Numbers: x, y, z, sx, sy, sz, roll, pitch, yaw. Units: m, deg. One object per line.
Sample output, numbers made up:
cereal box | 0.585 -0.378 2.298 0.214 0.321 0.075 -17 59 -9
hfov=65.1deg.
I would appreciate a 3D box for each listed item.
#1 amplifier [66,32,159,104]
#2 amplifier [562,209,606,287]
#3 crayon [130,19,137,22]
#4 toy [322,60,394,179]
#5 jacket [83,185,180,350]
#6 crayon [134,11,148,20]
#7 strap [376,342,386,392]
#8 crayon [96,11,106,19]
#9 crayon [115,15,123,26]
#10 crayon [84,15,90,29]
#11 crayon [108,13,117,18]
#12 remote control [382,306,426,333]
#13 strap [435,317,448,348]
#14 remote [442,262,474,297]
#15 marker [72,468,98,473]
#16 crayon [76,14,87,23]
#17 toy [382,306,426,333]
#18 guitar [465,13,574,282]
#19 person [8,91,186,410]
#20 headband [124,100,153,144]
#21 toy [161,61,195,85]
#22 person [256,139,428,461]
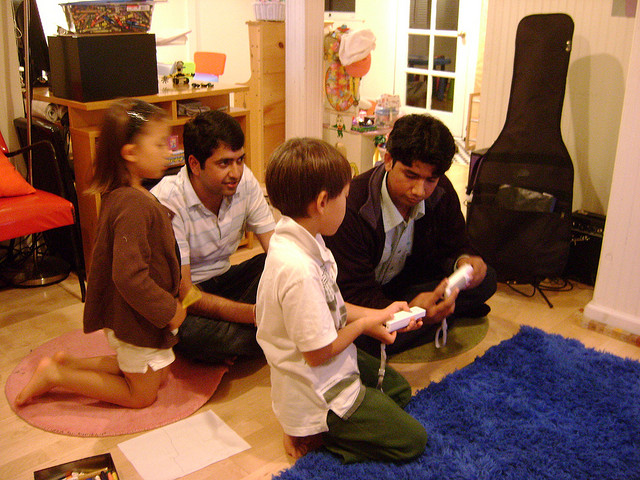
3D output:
amplifier | -1.114 -0.949 2.872 0.613 0.408 0.553 -16 25 -41
amplifier | 1.543 0.038 2.981 0.228 0.423 0.200 19 32 34
crayon | -1.041 -1.222 2.778 0.031 0.010 0.023 -4 5 -26
toy | 0.019 -1.112 4.418 0.301 0.927 0.489 -14 28 -26
jacket | -0.678 0.085 1.886 0.283 0.606 0.370 -10 28 -27
crayon | -1.004 -1.251 2.789 0.013 0.075 0.010 -55 29 -10
strap | 0.234 0.471 1.881 0.025 0.138 0.080 1 8 6
crayon | -1.167 -1.201 2.663 0.072 0.017 0.010 -42 29 -14
crayon | -1.098 -1.198 2.727 0.013 0.046 0.012 24 74 38
crayon | -1.232 -1.145 2.633 0.011 0.081 0.010 12 -1 -7
crayon | -1.124 -1.212 2.696 0.025 0.007 0.025 0 9 29
remote control | 0.314 0.269 1.838 0.064 0.049 0.222 23 29 36
strap | 0.564 0.430 2.321 0.033 0.151 0.106 2 8 8
remote | 0.594 0.168 2.205 0.072 0.071 0.224 46 55 7
marker | -0.792 0.768 1.670 0.067 0.019 0.010 -4 21 -10
crayon | -1.250 -1.157 2.608 0.055 0.008 0.007 -48 55 -6
toy | 0.311 0.271 1.833 0.064 0.040 0.220 24 32 37
guitar | 1.165 -0.508 2.820 0.549 1.417 0.466 7 22 19
person | -0.838 0.084 1.910 0.632 1.171 0.332 1 20 3
headband | -0.646 -0.423 1.791 0.065 0.130 0.137 4 22 10
toy | -0.939 -1.099 3.276 0.194 0.138 0.174 -5 22 -12
person | 0.065 0.237 1.705 0.563 1.108 0.341 -3 21 -8
